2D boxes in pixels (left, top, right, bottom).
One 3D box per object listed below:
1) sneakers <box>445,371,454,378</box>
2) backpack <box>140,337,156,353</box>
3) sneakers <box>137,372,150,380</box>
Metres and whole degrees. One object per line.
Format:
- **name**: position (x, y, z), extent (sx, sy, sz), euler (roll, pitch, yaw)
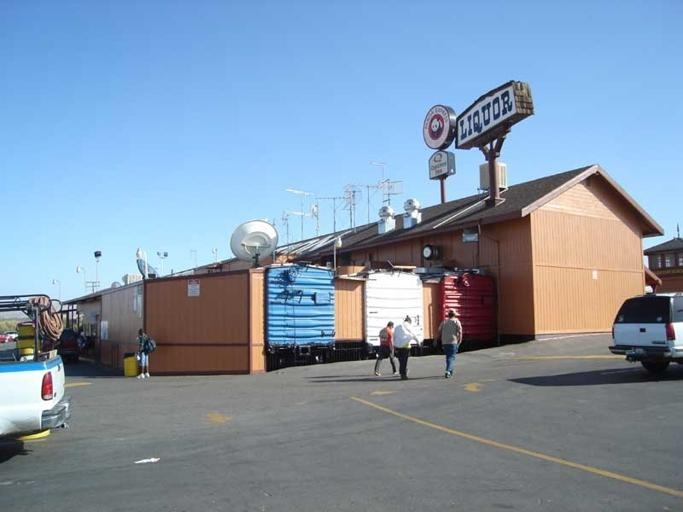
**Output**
- **sneakers**: position (3.218, 3.541, 18.746), extent (0.128, 0.203, 0.423), euler (-4, -13, 13)
- **backpack**: position (-7.197, 3.319, 23.341), extent (0.556, 0.669, 0.444), euler (-2, 6, -21)
- **sneakers**: position (-7.391, 4.470, 23.425), extent (0.234, 0.287, 0.590), euler (2, -3, -37)
